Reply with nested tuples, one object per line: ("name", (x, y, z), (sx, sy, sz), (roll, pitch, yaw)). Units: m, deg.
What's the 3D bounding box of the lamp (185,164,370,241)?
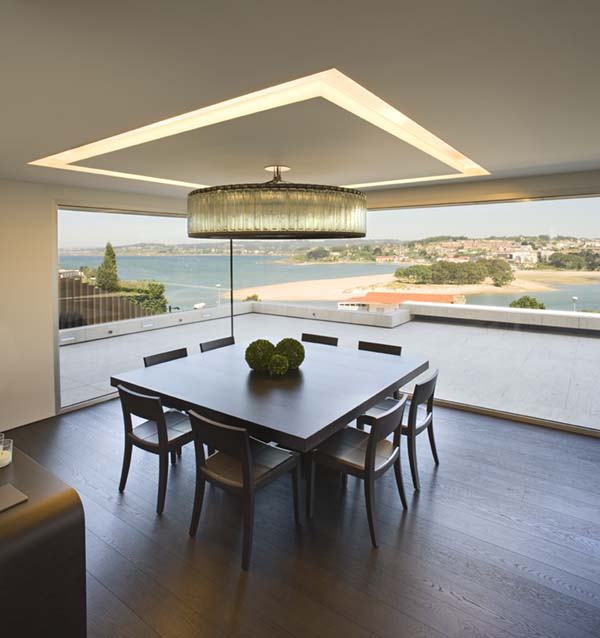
("lamp", (-0.132, -0.515, 2.169), (0.873, 0.234, 0.282), (1, 11, 6))
